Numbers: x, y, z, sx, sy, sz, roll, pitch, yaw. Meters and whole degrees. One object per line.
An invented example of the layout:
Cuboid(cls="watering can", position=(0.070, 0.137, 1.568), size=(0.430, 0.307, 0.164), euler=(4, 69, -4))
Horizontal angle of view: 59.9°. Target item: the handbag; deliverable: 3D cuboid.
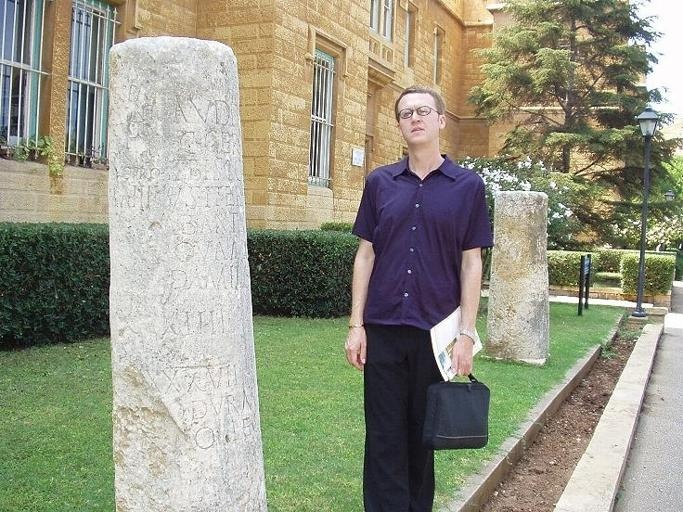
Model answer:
Cuboid(cls="handbag", position=(0.584, 0.805, 3.106), size=(0.403, 0.477, 0.169), euler=(2, 2, -11))

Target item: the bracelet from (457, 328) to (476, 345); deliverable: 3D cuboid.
Cuboid(cls="bracelet", position=(0.661, 0.420, 3.146), size=(0.088, 0.050, 0.072), euler=(39, 3, 10))
